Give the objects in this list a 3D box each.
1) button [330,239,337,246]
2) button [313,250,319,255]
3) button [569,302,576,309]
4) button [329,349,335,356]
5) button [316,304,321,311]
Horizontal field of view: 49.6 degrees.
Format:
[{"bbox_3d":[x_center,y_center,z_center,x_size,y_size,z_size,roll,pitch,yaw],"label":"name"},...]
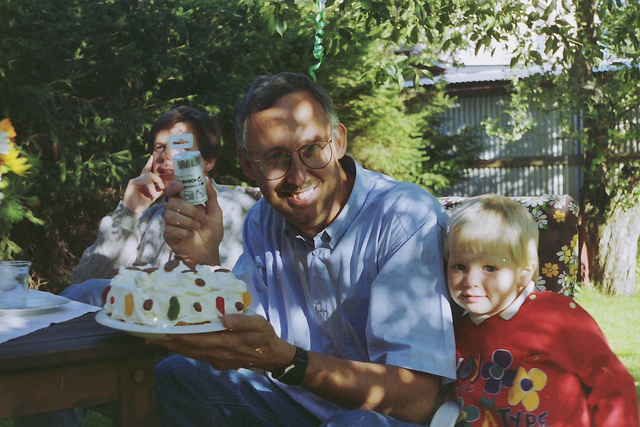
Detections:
[{"bbox_3d":[0.098,0.199,4.816,0.040,0.044,0.011,4,11,-8],"label":"button"},{"bbox_3d":[-0.030,0.268,4.839,0.027,0.007,0.026,11,28,29],"label":"button"},{"bbox_3d":[1.678,0.609,4.596,0.043,0.032,0.044,8,12,8],"label":"button"},{"bbox_3d":[0.082,0.970,4.845,0.042,0.035,0.032,10,12,17],"label":"button"},{"bbox_3d":[-0.009,0.651,4.848,0.039,0.043,0.016,-1,-5,2],"label":"button"}]
